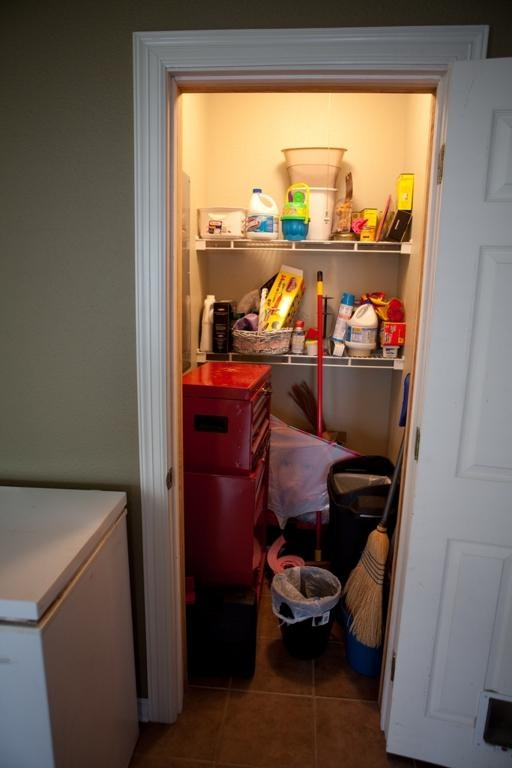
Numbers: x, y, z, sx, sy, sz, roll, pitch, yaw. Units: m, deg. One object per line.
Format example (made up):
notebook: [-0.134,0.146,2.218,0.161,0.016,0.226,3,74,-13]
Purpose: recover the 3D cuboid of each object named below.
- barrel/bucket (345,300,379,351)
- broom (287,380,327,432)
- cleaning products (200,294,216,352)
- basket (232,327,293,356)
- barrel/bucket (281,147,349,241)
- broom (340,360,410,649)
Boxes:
barrel/bucket: [0.503,-0.249,2.746,0.169,0.234,0.148,-1,11,-13]
broom: [0.266,0.124,3.032,0.128,0.257,0.230,-6,14,-37]
cleaning products: [-0.230,-0.269,2.739,0.058,0.249,0.088,0,10,-8]
basket: [0.033,-0.185,2.729,0.277,0.145,0.206,1,12,-4]
barrel/bucket: [0.260,-0.807,2.669,0.292,0.566,0.365,0,0,-1]
broom: [0.387,0.515,2.004,0.171,0.728,0.213,4,10,12]
